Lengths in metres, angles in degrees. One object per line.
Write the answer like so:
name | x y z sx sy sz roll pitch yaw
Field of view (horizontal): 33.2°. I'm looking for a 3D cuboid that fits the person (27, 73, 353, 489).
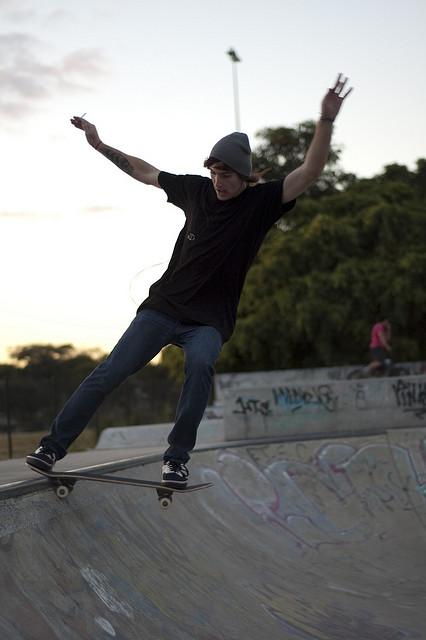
person | -0.104 -0.155 3.675 1.543 2.011 0.567 -1 -2 8
